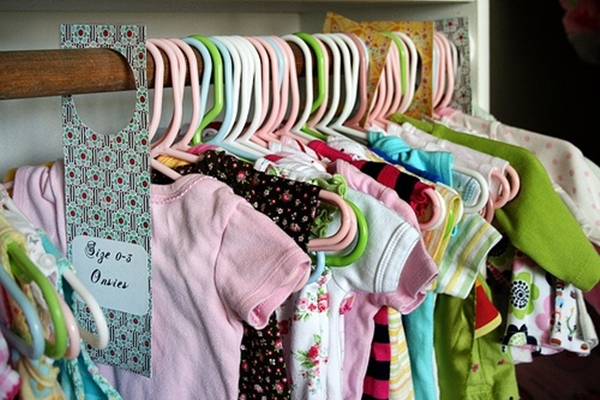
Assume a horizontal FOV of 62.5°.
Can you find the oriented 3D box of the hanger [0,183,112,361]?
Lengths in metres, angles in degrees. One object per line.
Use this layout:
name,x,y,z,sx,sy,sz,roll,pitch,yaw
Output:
hanger,-0.354,0.116,0.716,0.119,0.278,0.267,-5,7,-27
